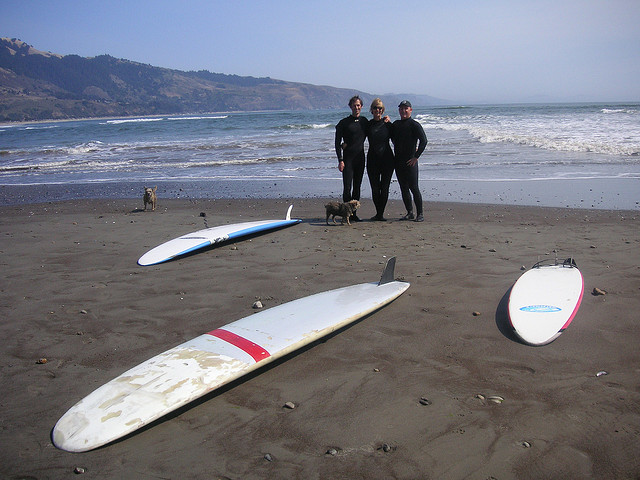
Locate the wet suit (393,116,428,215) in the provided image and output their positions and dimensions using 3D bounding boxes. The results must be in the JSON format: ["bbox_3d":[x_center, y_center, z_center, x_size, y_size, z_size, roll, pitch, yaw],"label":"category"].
[{"bbox_3d":[1.397,-1.119,8.067,0.597,1.492,0.417,5,16,30],"label":"wet suit"}]

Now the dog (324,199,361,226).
[{"bbox_3d":[0.339,-0.428,8.016,0.529,0.375,0.315,-1,13,8],"label":"dog"}]

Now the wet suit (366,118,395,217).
[{"bbox_3d":[0.942,-1.106,8.101,0.442,1.510,0.282,-2,14,5],"label":"wet suit"}]

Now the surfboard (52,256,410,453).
[{"bbox_3d":[-0.117,0.908,4.726,0.788,0.495,4.014,20,28,40],"label":"surfboard"}]

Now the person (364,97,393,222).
[{"bbox_3d":[0.919,-1.216,8.021,0.425,1.869,0.576,-3,14,4],"label":"person"}]

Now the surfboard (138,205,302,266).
[{"bbox_3d":[-1.204,-0.150,7.254,0.513,0.397,3.011,5,10,31],"label":"surfboard"}]
